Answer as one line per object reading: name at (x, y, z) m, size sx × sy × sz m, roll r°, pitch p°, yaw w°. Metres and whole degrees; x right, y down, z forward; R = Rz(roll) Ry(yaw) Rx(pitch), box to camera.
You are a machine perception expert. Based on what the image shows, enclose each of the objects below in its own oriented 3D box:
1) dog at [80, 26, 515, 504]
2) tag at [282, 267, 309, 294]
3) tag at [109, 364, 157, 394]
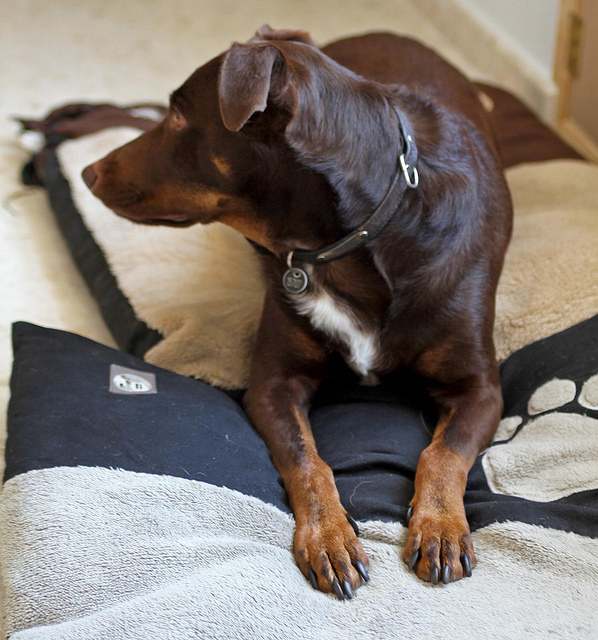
dog at (0.034, -0.291, 2.339) m, size 0.994 × 0.932 × 1.609 m, roll -1°, pitch 30°, yaw 14°
tag at (-0.008, -0.110, 2.221) m, size 0.079 × 0.066 × 0.019 m, roll 4°, pitch 10°, yaw 39°
tag at (-0.422, 0.157, 2.007) m, size 0.106 × 0.053 × 0.117 m, roll -8°, pitch 32°, yaw -6°
